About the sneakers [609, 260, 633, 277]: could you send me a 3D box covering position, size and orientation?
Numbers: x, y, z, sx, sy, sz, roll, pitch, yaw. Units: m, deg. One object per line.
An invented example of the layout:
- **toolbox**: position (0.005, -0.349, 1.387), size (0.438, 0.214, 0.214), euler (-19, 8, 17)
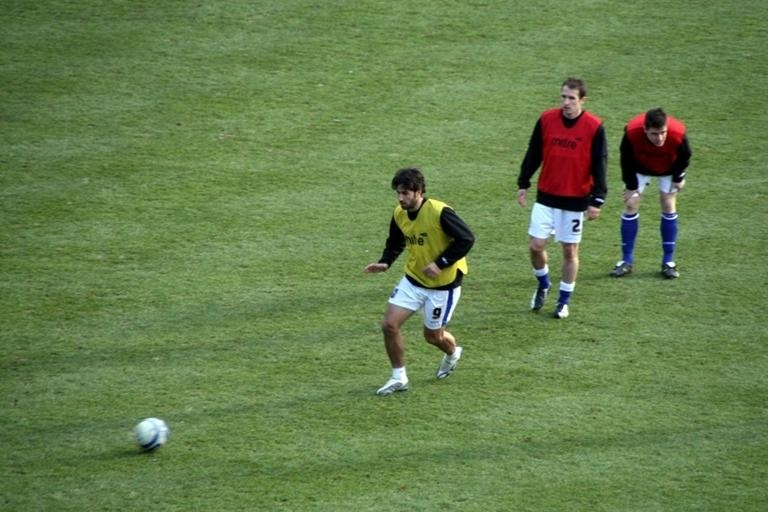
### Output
- **sneakers**: position (3.041, 0.174, 14.990), size (0.156, 0.126, 0.326), euler (12, 17, 41)

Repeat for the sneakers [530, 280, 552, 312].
- **sneakers**: position (1.950, 0.504, 14.482), size (0.209, 0.373, 0.143), euler (4, 30, -15)

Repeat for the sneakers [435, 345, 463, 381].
- **sneakers**: position (0.850, 1.247, 13.405), size (0.179, 0.476, 0.236), euler (43, 12, 27)

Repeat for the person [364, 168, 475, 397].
- **person**: position (0.425, 0.421, 13.138), size (1.168, 2.194, 0.749), euler (-3, 21, -4)

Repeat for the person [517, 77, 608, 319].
- **person**: position (2.153, -0.709, 14.164), size (1.082, 2.818, 0.737), euler (4, 22, 13)

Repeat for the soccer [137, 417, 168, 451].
- **soccer**: position (-2.467, 1.906, 12.439), size (0.374, 0.314, 0.351), euler (-1, 1, 5)

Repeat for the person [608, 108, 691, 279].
- **person**: position (3.388, -0.818, 14.776), size (0.877, 2.173, 0.655), euler (3, 22, 12)
